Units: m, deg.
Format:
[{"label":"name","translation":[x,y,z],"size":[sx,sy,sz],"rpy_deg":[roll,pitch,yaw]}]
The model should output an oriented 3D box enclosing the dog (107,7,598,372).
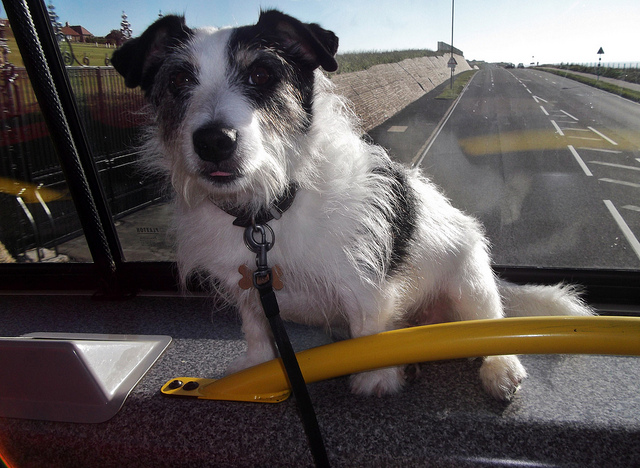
[{"label":"dog","translation":[0.236,-0.226,2.125],"size":[1.366,1.328,1.955],"rpy_deg":[-12,-10,38]}]
